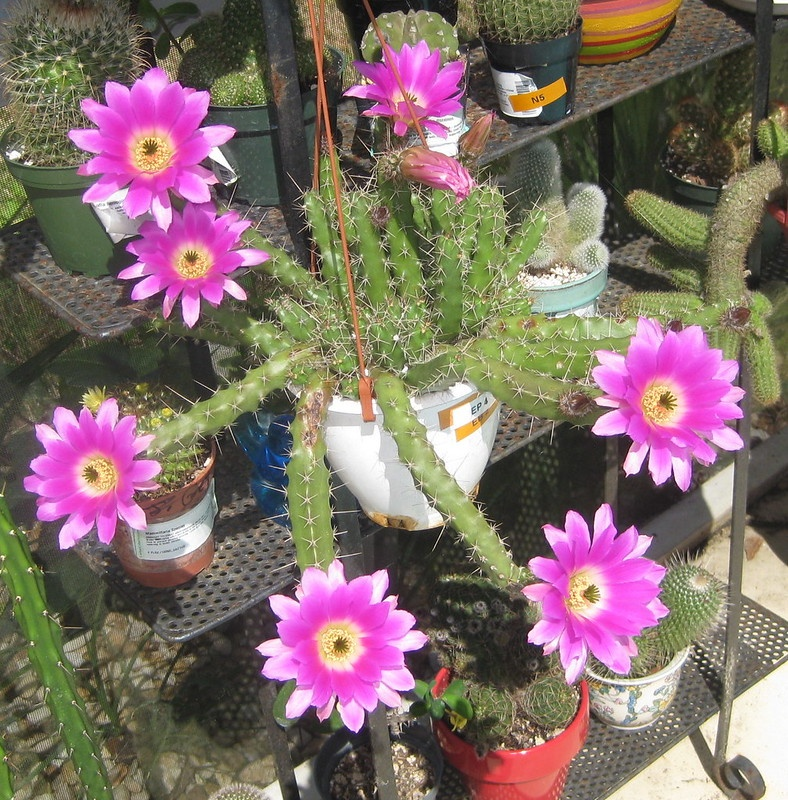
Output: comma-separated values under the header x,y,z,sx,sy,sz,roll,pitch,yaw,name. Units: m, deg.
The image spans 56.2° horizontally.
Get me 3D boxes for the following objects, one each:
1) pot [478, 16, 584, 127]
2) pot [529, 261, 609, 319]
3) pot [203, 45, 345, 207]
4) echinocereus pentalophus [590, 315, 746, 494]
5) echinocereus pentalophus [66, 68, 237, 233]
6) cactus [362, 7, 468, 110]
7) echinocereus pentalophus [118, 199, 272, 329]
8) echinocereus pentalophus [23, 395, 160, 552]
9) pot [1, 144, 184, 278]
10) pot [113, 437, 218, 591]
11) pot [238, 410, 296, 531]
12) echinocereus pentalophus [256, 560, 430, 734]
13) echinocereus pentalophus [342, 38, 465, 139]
x,y,z,sx,sy,sz,roll,pitch,yaw,name
0.169,-0.388,0.883,0.101,0.094,0.125,-7,33,2,pot
0.248,-0.159,1.055,0.094,0.068,0.096,-11,22,4,pot
-0.125,-0.292,0.768,0.126,0.116,0.152,-5,33,-5,pot
0.176,-0.002,0.496,0.114,0.050,0.120,1,31,-3,echinocereus pentalophus
-0.170,-0.177,0.524,0.095,0.080,0.092,9,45,16,echinocereus pentalophus
0.021,-0.363,0.794,0.101,0.063,0.096,-4,41,-8,cactus
-0.163,-0.120,0.574,0.122,0.049,0.111,-19,15,-39,echinocereus pentalophus
-0.208,0.048,0.537,0.098,0.041,0.105,-21,80,5,echinocereus pentalophus
-0.288,-0.191,0.735,0.133,0.119,0.132,1,40,-1,pot
-0.224,0.130,0.797,0.116,0.112,0.140,-3,26,-7,pot
-0.136,0.076,0.801,0.047,0.110,0.090,-26,61,-18,pot
-0.032,0.151,0.462,0.101,0.039,0.098,-21,31,-35,echinocereus pentalophus
0.016,-0.266,0.638,0.080,0.083,0.038,-15,59,51,echinocereus pentalophus
